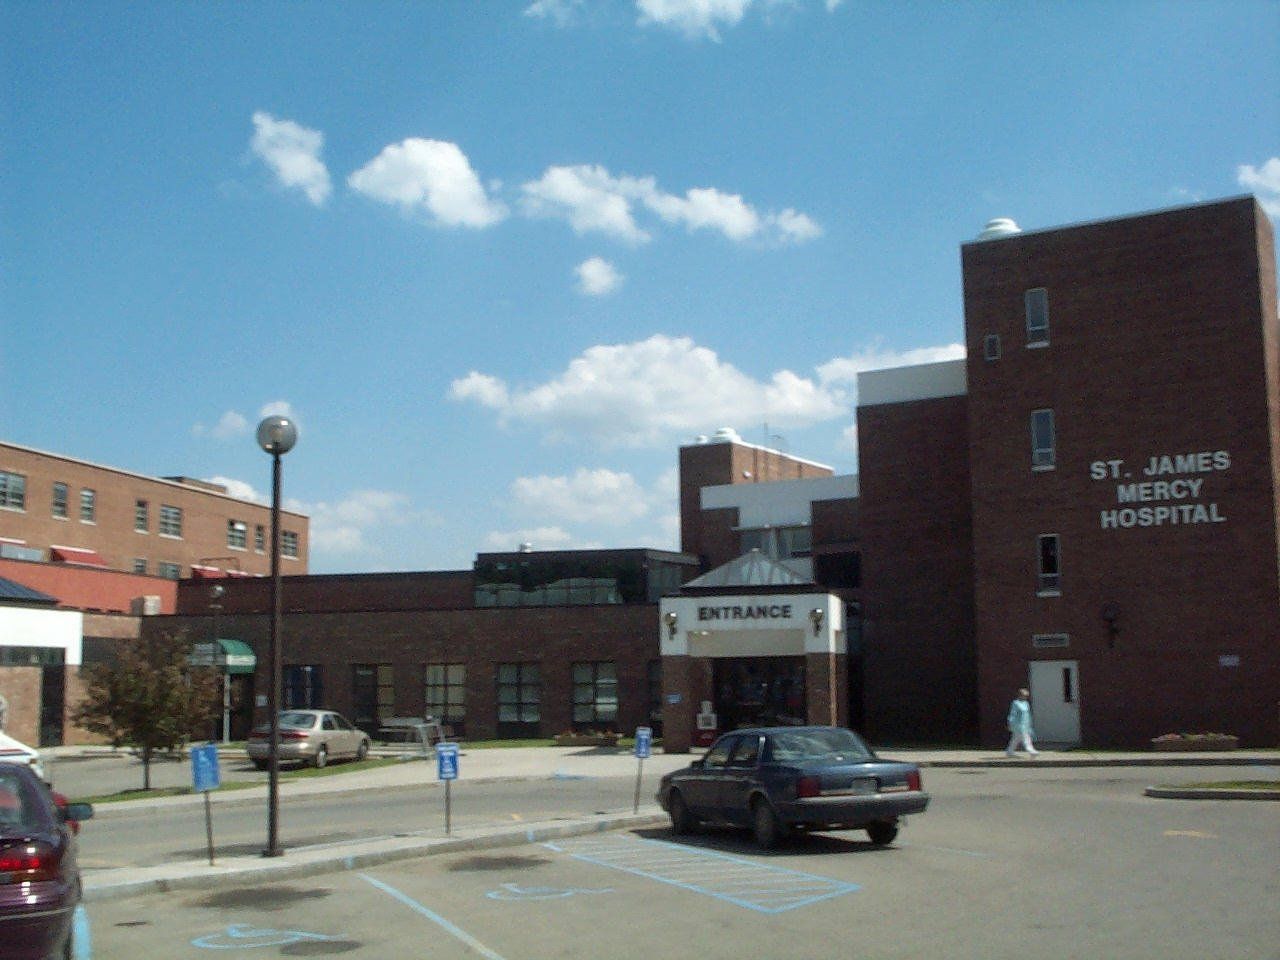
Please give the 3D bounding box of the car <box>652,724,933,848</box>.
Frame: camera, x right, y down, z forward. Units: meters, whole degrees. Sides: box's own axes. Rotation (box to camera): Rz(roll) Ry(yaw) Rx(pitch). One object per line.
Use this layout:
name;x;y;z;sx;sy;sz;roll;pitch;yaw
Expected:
car;2.612;5.510;27.057;4.575;2.108;1.796;-12;-15;42
